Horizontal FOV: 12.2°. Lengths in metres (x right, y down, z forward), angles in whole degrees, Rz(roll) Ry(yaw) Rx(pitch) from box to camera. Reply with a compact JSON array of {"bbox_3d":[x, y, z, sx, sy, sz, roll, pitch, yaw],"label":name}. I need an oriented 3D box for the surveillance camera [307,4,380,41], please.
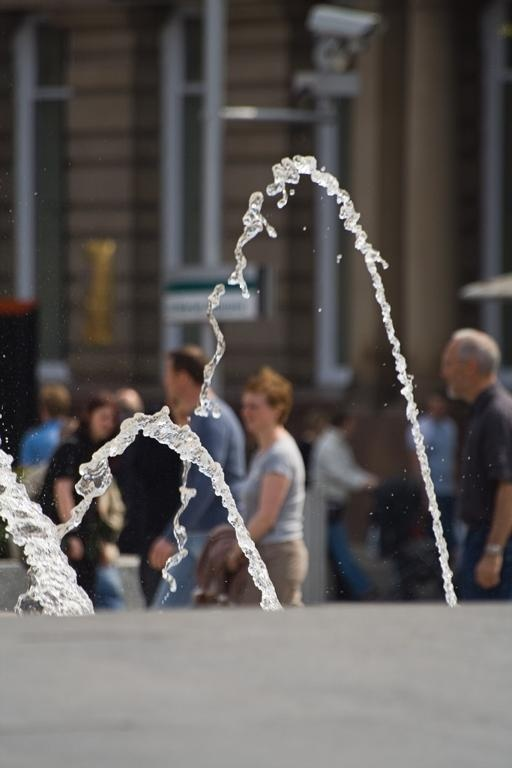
[{"bbox_3d":[0.317,-1.243,8.208,0.254,0.112,0.064,0,-2,-2],"label":"surveillance camera"}]
